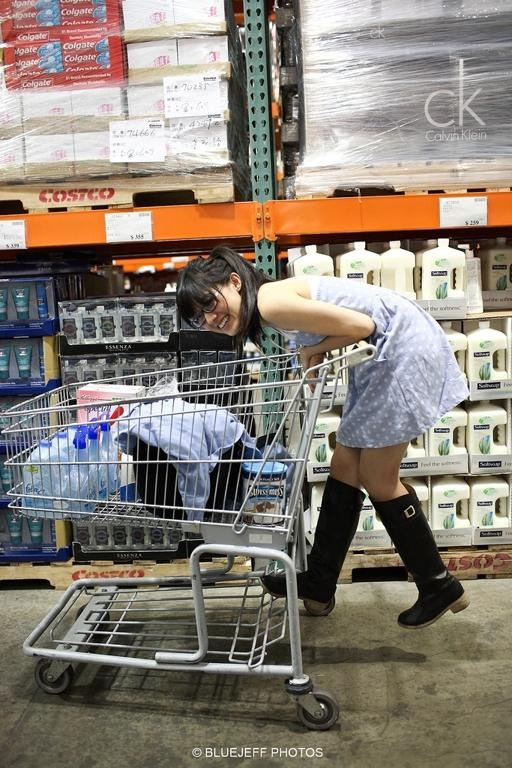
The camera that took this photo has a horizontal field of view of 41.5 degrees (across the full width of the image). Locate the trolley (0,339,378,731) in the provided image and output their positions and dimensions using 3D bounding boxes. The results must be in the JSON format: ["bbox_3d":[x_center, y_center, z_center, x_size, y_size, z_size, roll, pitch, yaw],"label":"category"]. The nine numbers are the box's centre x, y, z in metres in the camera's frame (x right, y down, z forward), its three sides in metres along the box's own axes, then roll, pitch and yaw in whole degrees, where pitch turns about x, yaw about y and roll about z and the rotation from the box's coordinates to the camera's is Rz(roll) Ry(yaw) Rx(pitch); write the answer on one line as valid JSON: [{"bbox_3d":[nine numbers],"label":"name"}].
[{"bbox_3d":[-0.211,0.396,2.390,1.392,1.275,0.910,2,19,3],"label":"trolley"}]

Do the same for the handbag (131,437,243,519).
[{"bbox_3d":[-0.203,0.258,2.000,0.325,0.270,0.195,3,18,2],"label":"handbag"}]

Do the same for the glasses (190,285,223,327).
[{"bbox_3d":[-0.116,-0.217,1.852,0.028,0.092,0.092,42,-31,-24],"label":"glasses"}]

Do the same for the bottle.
[{"bbox_3d":[-0.464,0.240,1.925,0.109,0.268,0.258,3,12,13],"label":"bottle"}]
